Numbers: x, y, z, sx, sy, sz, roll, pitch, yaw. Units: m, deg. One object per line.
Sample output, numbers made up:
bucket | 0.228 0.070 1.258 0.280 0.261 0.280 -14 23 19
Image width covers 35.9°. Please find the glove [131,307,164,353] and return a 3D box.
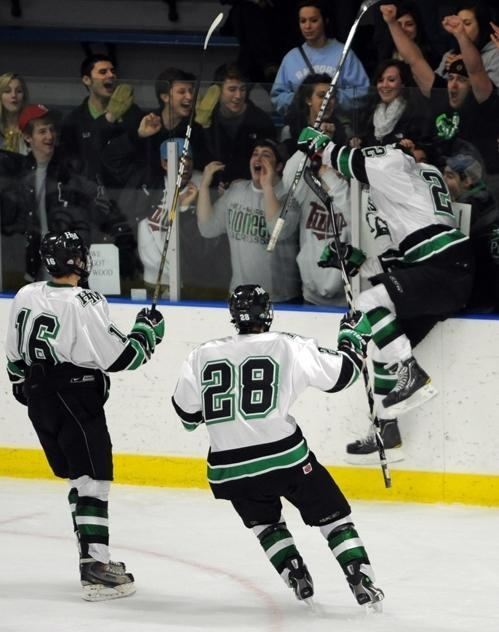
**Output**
glove | -0.413 0.049 3.251 0.089 0.180 0.145 18 -38 4

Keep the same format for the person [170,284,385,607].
person | 0.086 0.453 2.725 0.710 1.123 0.322 -2 4 -3

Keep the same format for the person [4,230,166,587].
person | -0.744 0.386 3.194 0.626 1.462 0.383 0 4 21

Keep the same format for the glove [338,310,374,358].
glove | 0.422 0.068 3.046 0.078 0.125 0.284 -41 -2 20

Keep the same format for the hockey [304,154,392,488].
hockey | 0.515 0.021 3.885 0.068 1.941 0.259 -29 -30 36

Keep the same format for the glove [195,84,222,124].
glove | -0.242 -1.193 4.356 0.056 0.196 0.136 -12 42 -46

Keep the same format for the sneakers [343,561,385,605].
sneakers | 0.393 0.929 2.657 0.132 0.177 0.092 -1 3 -1

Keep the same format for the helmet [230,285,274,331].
helmet | 0.005 -0.023 2.718 0.151 0.159 0.183 0 5 25

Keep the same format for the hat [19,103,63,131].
hat | -1.293 -1.202 4.705 0.221 0.113 0.150 -20 6 33

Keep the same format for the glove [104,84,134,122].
glove | -0.763 -1.246 4.540 0.138 0.217 0.052 34 20 9

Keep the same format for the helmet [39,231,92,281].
helmet | -0.709 -0.251 3.217 0.182 0.191 0.221 5 14 19
